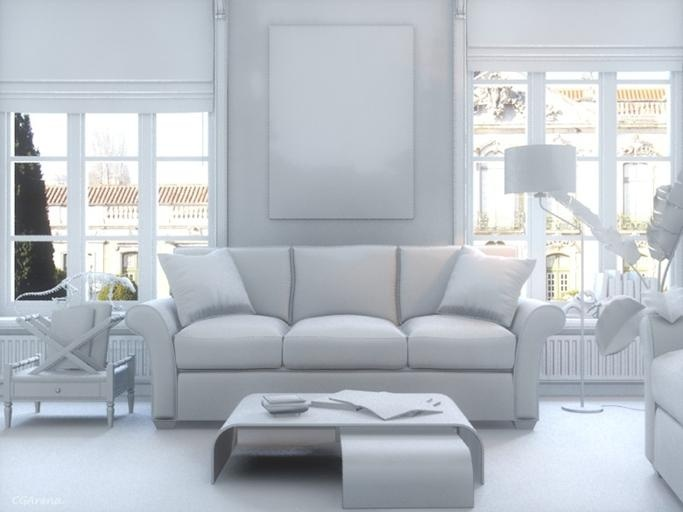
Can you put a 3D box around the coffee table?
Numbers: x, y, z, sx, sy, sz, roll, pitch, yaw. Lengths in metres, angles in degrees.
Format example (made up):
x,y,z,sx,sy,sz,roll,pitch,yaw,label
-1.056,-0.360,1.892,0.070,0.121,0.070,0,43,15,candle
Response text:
x,y,z,sx,sy,sz,roll,pitch,yaw,label
0.072,1.213,5.234,1.567,0.633,0.873,1,6,22,coffee table

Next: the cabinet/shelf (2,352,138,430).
x,y,z,sx,sy,sz,roll,pitch,yaw,label
-2.089,1.013,6.214,0.934,0.469,0.518,-1,6,0,cabinet/shelf
